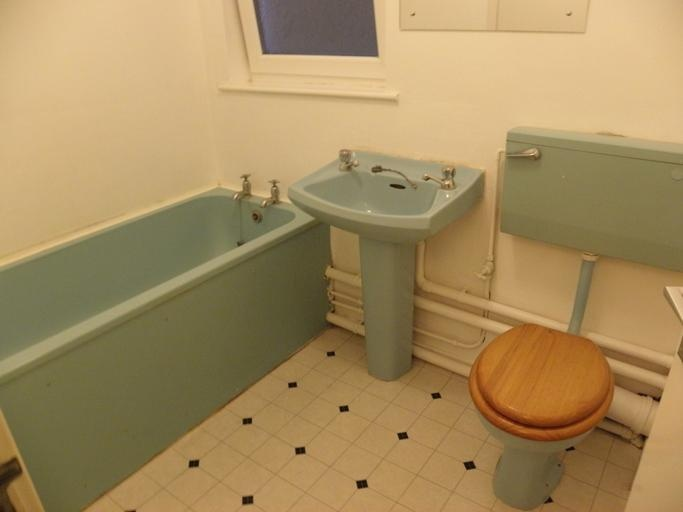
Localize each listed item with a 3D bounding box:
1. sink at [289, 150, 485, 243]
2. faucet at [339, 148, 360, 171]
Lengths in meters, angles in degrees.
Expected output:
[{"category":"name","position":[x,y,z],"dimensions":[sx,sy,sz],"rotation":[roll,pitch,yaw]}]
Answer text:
[{"category":"sink","position":[0.176,-0.219,2.314],"dimensions":[0.763,0.261,0.568],"rotation":[19,35,37]},{"category":"faucet","position":[0.035,-0.462,2.432],"dimensions":[0.129,0.094,0.055],"rotation":[13,50,21]}]
